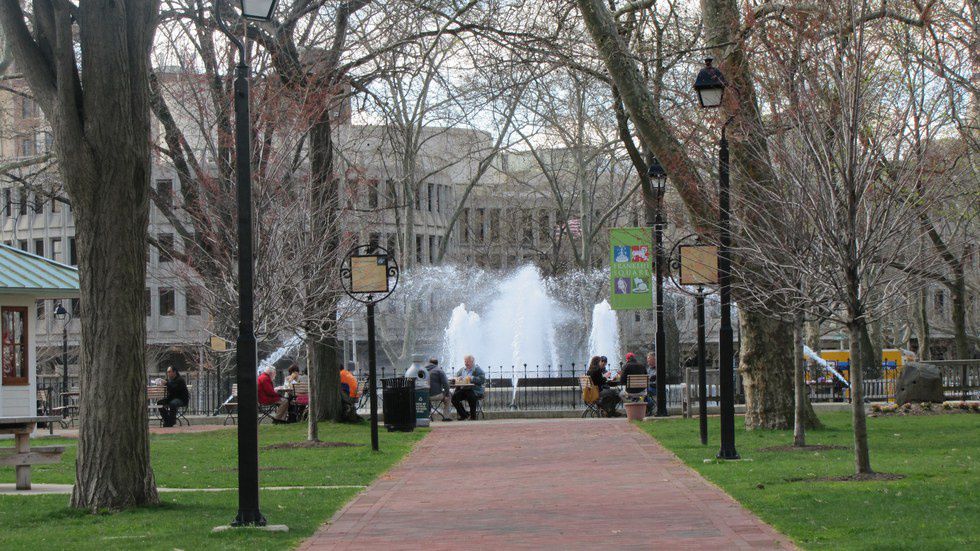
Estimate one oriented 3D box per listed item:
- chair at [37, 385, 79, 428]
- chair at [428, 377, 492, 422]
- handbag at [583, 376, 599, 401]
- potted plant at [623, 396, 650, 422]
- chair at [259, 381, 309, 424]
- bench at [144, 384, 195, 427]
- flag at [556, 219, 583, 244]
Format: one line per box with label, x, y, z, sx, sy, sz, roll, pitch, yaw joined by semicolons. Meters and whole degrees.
chair;-14.959;4.601;51.895;1.149;1.177;1.781;0;-2;-2
chair;-1.015;4.148;50.918;1.712;1.096;1.503;1;-6;-6
handbag;3.403;3.846;50.481;0.494;0.851;1.055;-2;-9;-5
potted plant;4.679;4.326;48.338;0.751;0.528;0.727;-1;0;5
chair;-7.072;4.238;51.155;1.673;1.404;1.648;-1;-2;4
bench;-10.900;4.439;50.860;2.204;1.518;1.291;-1;-7;4
flag;3.927;-1.934;74.480;1.668;0.969;2.200;1;5;6
